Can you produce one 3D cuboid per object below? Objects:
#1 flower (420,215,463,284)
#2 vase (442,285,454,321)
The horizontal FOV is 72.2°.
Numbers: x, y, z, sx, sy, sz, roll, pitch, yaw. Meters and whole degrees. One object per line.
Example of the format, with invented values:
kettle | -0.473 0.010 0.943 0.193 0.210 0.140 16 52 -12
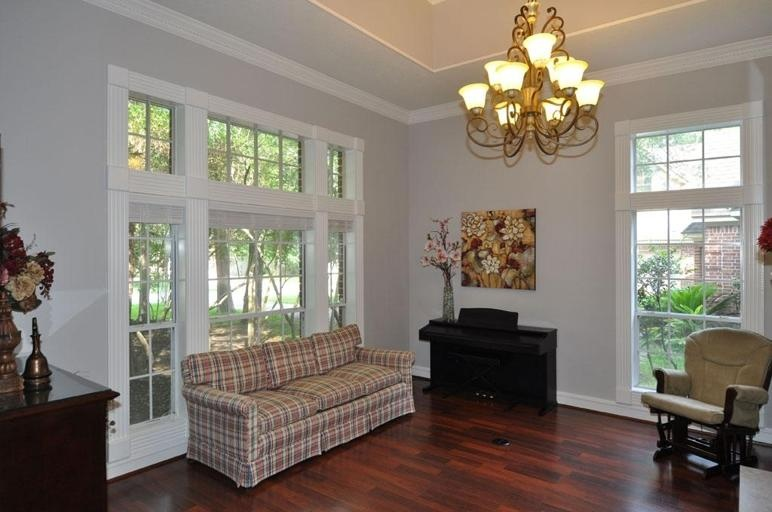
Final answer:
flower | 0.833 -0.055 7.851 0.567 0.945 0.734 1 12 5
vase | 0.912 0.678 7.614 0.152 0.459 0.246 1 12 6
